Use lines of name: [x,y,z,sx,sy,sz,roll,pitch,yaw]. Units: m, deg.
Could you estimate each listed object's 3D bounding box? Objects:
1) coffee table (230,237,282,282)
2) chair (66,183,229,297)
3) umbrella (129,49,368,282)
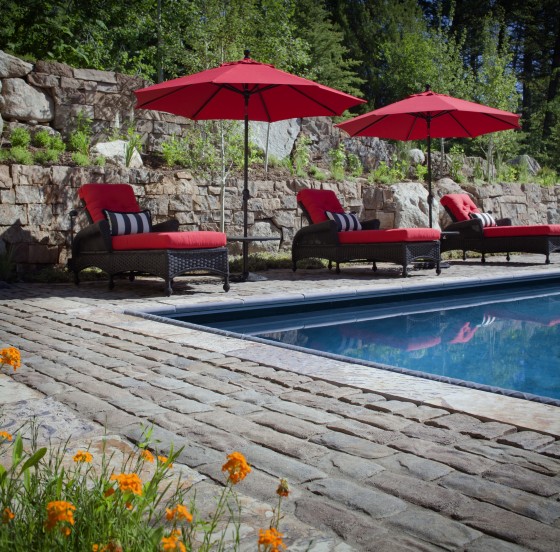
coffee table: [-0.423,-0.262,6.550,0.829,0.634,0.784,-1,1,-36]
chair: [-1.610,-0.510,5.834,1.945,1.047,1.027,7,12,35]
umbrella: [-0.523,-1.835,7.812,3.691,3.051,3.145,11,25,22]
